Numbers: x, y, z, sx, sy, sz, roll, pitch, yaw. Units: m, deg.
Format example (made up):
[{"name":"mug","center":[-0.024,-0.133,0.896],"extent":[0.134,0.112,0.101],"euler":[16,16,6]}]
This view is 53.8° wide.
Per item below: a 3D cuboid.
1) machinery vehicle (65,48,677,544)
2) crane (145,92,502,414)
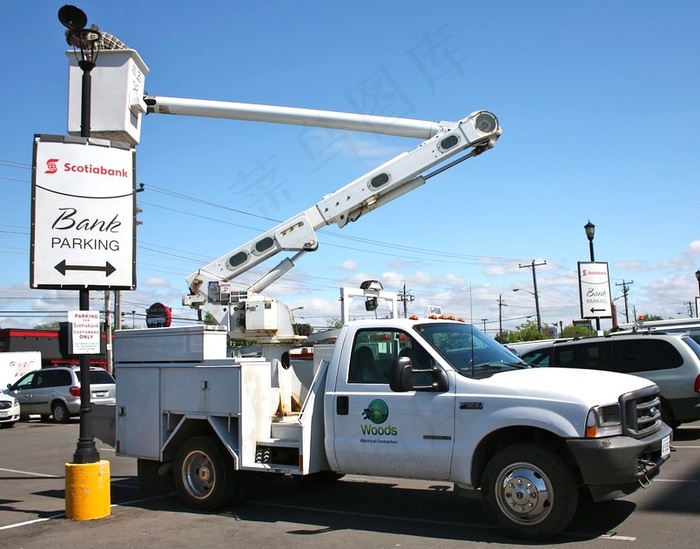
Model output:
[{"name":"machinery vehicle","center":[0.328,-0.130,10.654],"extent":[7.969,7.083,4.164],"euler":[-4,-5,22]},{"name":"crane","center":[-0.565,-1.712,13.235],"extent":[7.564,4.241,5.808],"euler":[8,-12,-12]}]
